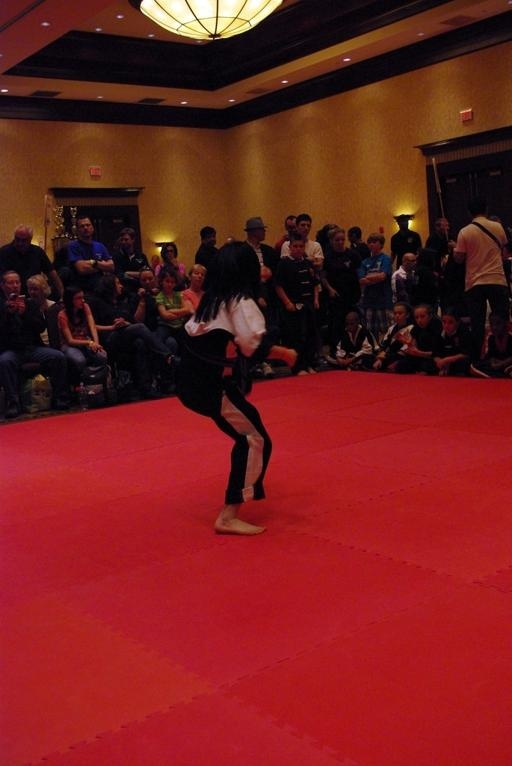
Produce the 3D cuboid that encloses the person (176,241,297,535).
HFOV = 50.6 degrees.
[{"bbox_3d":[-0.091,0.052,2.577,0.311,1.383,0.591,-6,0,-45],"label":"person"}]

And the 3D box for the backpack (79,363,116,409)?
[{"bbox_3d":[-2.044,0.057,6.888,0.393,0.556,0.563,-4,-2,24],"label":"backpack"}]

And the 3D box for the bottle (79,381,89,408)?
[{"bbox_3d":[-2.204,0.171,6.886,0.156,0.353,0.059,-6,0,29],"label":"bottle"}]

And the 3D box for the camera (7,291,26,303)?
[{"bbox_3d":[-3.023,-1.075,6.797,0.223,0.090,0.315,-2,2,-12],"label":"camera"}]

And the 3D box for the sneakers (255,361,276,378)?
[{"bbox_3d":[0.144,-0.186,8.250,0.142,0.184,0.419,-2,-12,-6],"label":"sneakers"}]
